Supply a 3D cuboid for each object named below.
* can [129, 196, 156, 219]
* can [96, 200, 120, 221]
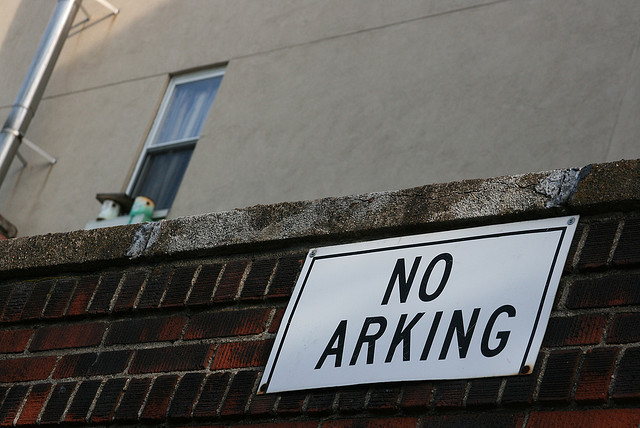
[{"bbox_3d":[-1.112,-0.047,9.836,0.133,0.145,0.131,14,3,-43],"label":"can"},{"bbox_3d":[-1.335,-0.019,9.749,0.075,0.129,0.071,23,-16,7],"label":"can"}]
